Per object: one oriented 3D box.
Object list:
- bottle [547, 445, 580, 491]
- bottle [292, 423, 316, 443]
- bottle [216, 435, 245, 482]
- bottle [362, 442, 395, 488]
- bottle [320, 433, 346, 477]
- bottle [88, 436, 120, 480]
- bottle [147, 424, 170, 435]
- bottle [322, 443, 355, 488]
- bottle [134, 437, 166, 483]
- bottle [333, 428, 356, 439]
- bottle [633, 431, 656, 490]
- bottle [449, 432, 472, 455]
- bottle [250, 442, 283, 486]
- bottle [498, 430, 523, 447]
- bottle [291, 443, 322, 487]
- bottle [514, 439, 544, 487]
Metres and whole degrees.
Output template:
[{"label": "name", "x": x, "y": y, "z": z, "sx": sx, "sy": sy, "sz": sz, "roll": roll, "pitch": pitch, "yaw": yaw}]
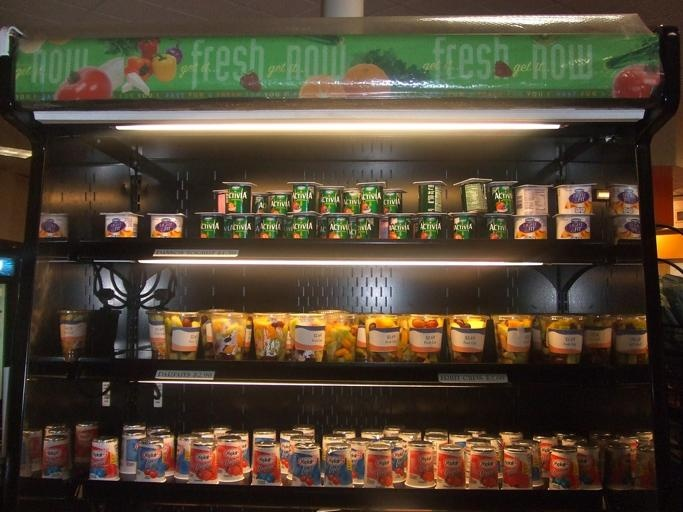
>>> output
[{"label": "bottle", "x": 0.957, "y": 0.907, "z": 2.861, "sx": 0.121, "sy": 0.175, "sz": 0.053, "roll": -4, "pitch": -7, "yaw": 15}, {"label": "bottle", "x": -0.165, "y": 0.802, "z": 3.015, "sx": 0.072, "sy": 0.069, "sz": 0.068, "roll": 2, "pitch": -5, "yaw": -20}, {"label": "bottle", "x": -0.489, "y": 0.888, "z": 2.921, "sx": 0.113, "sy": 0.190, "sz": 0.052, "roll": 0, "pitch": -7, "yaw": -19}, {"label": "bottle", "x": 0.160, "y": 0.899, "z": 2.870, "sx": 0.189, "sy": 0.215, "sz": 0.162, "roll": 2, "pitch": -14, "yaw": -3}, {"label": "bottle", "x": -0.043, "y": 0.862, "z": 2.972, "sx": 0.135, "sy": 0.181, "sz": 0.119, "roll": 2, "pitch": -13, "yaw": -4}, {"label": "bottle", "x": -1.044, "y": 0.889, "z": 2.938, "sx": 0.120, "sy": 0.181, "sz": 0.093, "roll": 0, "pitch": -7, "yaw": -18}, {"label": "bottle", "x": -0.846, "y": 0.793, "z": 3.049, "sx": 0.053, "sy": 0.028, "sz": 0.051, "roll": 3, "pitch": 0, "yaw": 0}, {"label": "bottle", "x": -0.015, "y": 0.900, "z": 2.876, "sx": 0.178, "sy": 0.216, "sz": 0.162, "roll": 1, "pitch": -12, "yaw": 0}, {"label": "bottle", "x": -0.836, "y": 0.892, "z": 2.921, "sx": 0.119, "sy": 0.183, "sz": 0.058, "roll": 0, "pitch": -7, "yaw": -14}, {"label": "bottle", "x": 0.019, "y": 0.818, "z": 3.072, "sx": 0.062, "sy": 0.048, "sz": 0.057, "roll": 2, "pitch": 0, "yaw": 0}, {"label": "bottle", "x": 1.311, "y": 0.887, "z": 2.872, "sx": 0.083, "sy": 0.216, "sz": 0.242, "roll": -5, "pitch": -7, "yaw": 23}, {"label": "bottle", "x": 0.537, "y": 0.844, "z": 3.015, "sx": 0.072, "sy": 0.059, "sz": 0.068, "roll": 1, "pitch": -1, "yaw": 12}, {"label": "bottle", "x": -0.329, "y": 0.908, "z": 2.909, "sx": 0.181, "sy": 0.213, "sz": 0.159, "roll": 1, "pitch": -12, "yaw": -1}, {"label": "bottle", "x": 0.781, "y": 0.832, "z": 3.071, "sx": 0.075, "sy": 0.061, "sz": 0.072, "roll": -1, "pitch": 2, "yaw": 21}, {"label": "bottle", "x": -0.151, "y": 0.901, "z": 2.878, "sx": 0.172, "sy": 0.150, "sz": 0.159, "roll": 1, "pitch": -8, "yaw": -4}, {"label": "bottle", "x": 0.853, "y": 0.905, "z": 2.946, "sx": 0.185, "sy": 0.170, "sz": 0.173, "roll": 0, "pitch": -4, "yaw": 13}]
